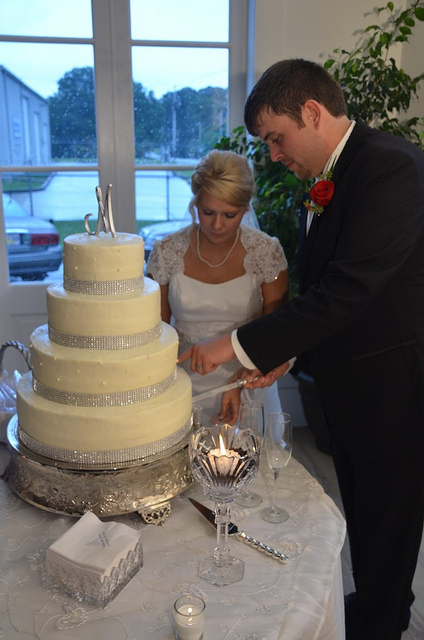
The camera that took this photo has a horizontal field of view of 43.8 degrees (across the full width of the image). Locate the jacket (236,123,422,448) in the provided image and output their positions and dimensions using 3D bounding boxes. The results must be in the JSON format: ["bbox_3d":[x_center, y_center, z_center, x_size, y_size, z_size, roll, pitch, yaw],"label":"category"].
[{"bbox_3d":[0.409,-0.103,1.830,0.596,1.043,0.402,-2,19,5],"label":"jacket"}]

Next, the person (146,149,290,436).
[{"bbox_3d":[0.015,0.035,2.481,0.675,1.552,0.798,4,22,6],"label":"person"}]

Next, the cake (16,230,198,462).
[{"bbox_3d":[-0.283,0.042,1.422,0.499,0.515,0.487,2,16,-1],"label":"cake"}]

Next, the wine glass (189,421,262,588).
[{"bbox_3d":[0.025,0.382,1.176,0.152,0.259,0.314,2,10,3],"label":"wine glass"}]

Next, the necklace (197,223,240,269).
[{"bbox_3d":[0.028,-0.354,2.405,0.139,0.224,0.047,5,20,3],"label":"necklace"}]

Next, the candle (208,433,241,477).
[{"bbox_3d":[0.024,0.292,1.112,0.057,0.062,0.055,0,-12,-4],"label":"candle"}]

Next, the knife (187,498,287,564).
[{"bbox_3d":[0.037,0.467,1.243,0.064,0.036,0.355,-34,28,-22],"label":"knife"}]

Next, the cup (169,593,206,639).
[{"bbox_3d":[-0.040,0.506,0.890,0.049,0.065,0.055,0,10,-9],"label":"cup"}]
